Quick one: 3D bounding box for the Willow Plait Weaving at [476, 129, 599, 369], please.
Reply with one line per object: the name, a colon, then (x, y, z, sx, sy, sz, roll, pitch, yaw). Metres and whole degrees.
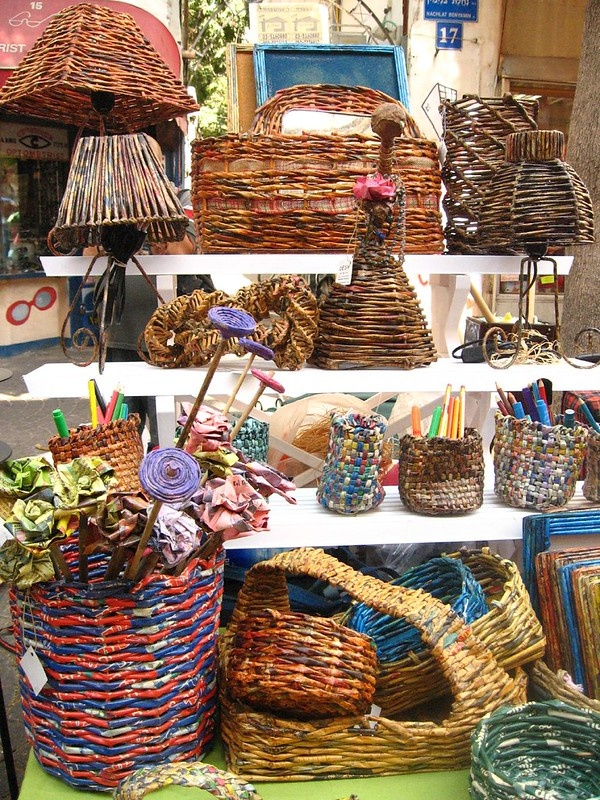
Willow Plait Weaving: (0.565, -0.343, 1.686, 0.296, 0.524, 0.452, 3, 15, 13)

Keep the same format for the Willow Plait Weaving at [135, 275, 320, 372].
Willow Plait Weaving: (-0.144, -0.173, 1.582, 0.320, 0.088, 0.217, -5, 9, 9)

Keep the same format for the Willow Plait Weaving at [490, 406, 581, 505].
Willow Plait Weaving: (0.506, 0.131, 1.521, 0.193, 0.170, 0.171, 7, 0, 25)

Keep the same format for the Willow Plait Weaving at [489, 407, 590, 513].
Willow Plait Weaving: (0.504, 0.127, 1.535, 0.221, 0.199, 0.195, -1, -4, 36)

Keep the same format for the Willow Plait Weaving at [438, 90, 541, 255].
Willow Plait Weaving: (0.494, -0.580, 1.888, 0.269, 0.358, 0.256, -2, 9, -10)

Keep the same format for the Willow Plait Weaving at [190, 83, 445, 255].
Willow Plait Weaving: (0.058, -0.527, 1.707, 0.596, 0.362, 0.314, 1, 11, 1)

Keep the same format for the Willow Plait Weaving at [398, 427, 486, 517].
Willow Plait Weaving: (0.289, 0.150, 1.521, 0.184, 0.153, 0.169, 0, -4, -34)

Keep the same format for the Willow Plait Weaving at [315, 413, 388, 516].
Willow Plait Weaving: (0.110, 0.134, 1.464, 0.137, 0.209, 0.114, -2, 15, -6)

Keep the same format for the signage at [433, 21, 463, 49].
signage: (1.305, -3.200, 6.323, 0.258, 0.236, 0.034, 2, 17, 4)
